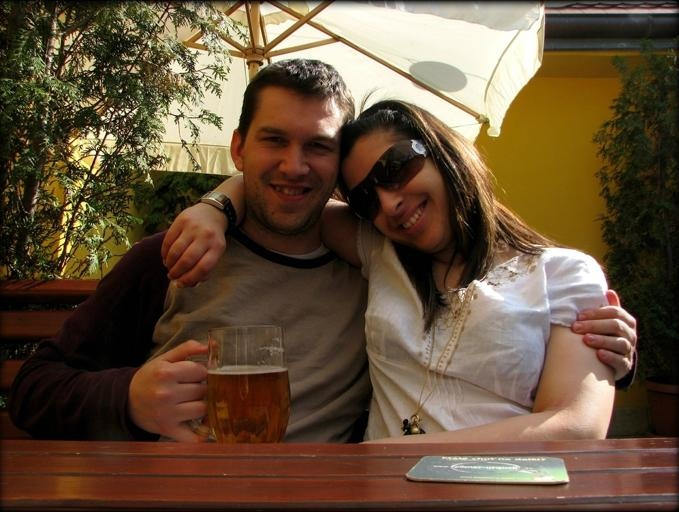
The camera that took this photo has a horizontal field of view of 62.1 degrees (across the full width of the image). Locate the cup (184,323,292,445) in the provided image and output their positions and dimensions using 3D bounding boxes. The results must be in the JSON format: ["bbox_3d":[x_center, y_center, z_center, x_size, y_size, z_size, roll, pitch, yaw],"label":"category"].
[{"bbox_3d":[-0.237,0.337,1.453,0.215,0.304,0.218,0,8,0],"label":"cup"}]

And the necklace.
[{"bbox_3d":[0.429,0.413,2.147,0.101,0.527,0.283,27,-12,-38],"label":"necklace"}]
